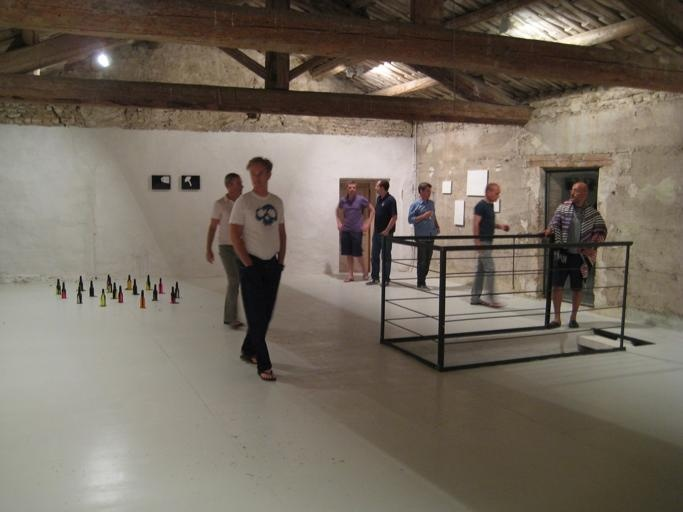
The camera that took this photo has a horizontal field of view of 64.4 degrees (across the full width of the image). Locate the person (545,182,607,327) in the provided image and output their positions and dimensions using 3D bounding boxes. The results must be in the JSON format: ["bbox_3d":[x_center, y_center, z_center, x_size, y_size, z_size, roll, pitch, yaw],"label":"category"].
[{"bbox_3d":[3.066,0.036,7.168,0.724,1.973,1.069,3,9,26],"label":"person"}]

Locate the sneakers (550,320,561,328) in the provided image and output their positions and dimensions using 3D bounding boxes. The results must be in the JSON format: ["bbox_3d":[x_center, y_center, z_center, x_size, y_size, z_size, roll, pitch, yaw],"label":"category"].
[{"bbox_3d":[2.897,0.925,7.400,0.180,0.086,0.076,0,3,-18],"label":"sneakers"}]

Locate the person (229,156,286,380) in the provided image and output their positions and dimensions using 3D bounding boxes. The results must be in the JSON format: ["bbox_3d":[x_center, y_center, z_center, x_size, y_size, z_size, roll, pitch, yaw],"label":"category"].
[{"bbox_3d":[-0.858,0.113,5.588,0.487,2.230,0.508,0,8,4],"label":"person"}]

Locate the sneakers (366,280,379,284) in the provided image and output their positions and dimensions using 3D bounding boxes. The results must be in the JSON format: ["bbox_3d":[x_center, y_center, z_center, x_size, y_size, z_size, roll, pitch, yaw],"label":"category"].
[{"bbox_3d":[0.601,0.505,10.603,0.251,0.119,0.096,1,1,-2],"label":"sneakers"}]

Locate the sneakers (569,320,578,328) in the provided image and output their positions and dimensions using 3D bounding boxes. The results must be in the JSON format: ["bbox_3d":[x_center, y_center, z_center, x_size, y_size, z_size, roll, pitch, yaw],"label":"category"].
[{"bbox_3d":[3.160,0.927,7.369,0.065,0.078,0.185,-1,-6,10],"label":"sneakers"}]
